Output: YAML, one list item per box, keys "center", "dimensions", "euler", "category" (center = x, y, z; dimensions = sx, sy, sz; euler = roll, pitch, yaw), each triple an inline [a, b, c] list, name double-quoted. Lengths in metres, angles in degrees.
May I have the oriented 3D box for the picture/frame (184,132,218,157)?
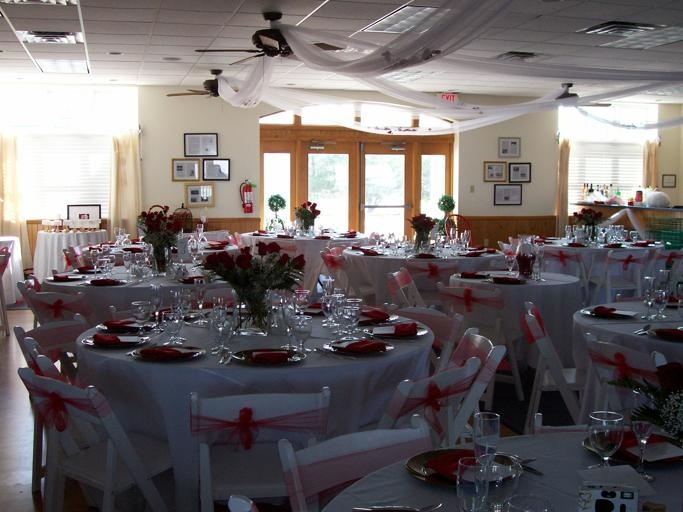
- center: [-3.420, -2.667, 10.952]
  dimensions: [0.662, 0.425, 0.029]
  euler: [-1, 3, -5]
  category: "picture/frame"

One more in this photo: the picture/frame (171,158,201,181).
- center: [-3.769, -2.093, 10.971]
  dimensions: [0.613, 0.456, 0.047]
  euler: [0, 7, -3]
  category: "picture/frame"

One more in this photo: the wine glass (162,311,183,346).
- center: [-0.943, 0.392, 2.570]
  dimensions: [0.093, 0.175, 0.257]
  euler: [-3, 4, -21]
  category: "wine glass"

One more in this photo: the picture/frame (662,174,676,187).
- center: [9.725, -2.226, 13.553]
  dimensions: [0.412, 0.369, 0.028]
  euler: [3, 6, -5]
  category: "picture/frame"

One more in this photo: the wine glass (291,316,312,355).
- center: [-0.209, 0.411, 2.397]
  dimensions: [0.120, 0.168, 0.116]
  euler: [4, 2, 29]
  category: "wine glass"

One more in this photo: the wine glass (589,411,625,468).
- center: [0.720, 0.495, 1.242]
  dimensions: [0.071, 0.175, 0.219]
  euler: [1, 4, 30]
  category: "wine glass"

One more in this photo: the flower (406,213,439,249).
- center: [1.163, -0.338, 6.523]
  dimensions: [0.469, 0.550, 0.524]
  euler: [1, 3, 14]
  category: "flower"

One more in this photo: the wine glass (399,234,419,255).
- center: [0.967, -0.156, 6.611]
  dimensions: [0.340, 0.335, 0.323]
  euler: [0, 1, 27]
  category: "wine glass"

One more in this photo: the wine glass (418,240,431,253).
- center: [1.148, -0.130, 6.325]
  dimensions: [0.181, 0.183, 0.172]
  euler: [1, -4, -7]
  category: "wine glass"

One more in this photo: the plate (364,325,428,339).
- center: [0.331, 0.432, 2.773]
  dimensions: [0.379, 0.069, 0.300]
  euler: [-1, 3, 9]
  category: "plate"

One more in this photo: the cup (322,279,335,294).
- center: [-0.087, 0.195, 2.984]
  dimensions: [0.071, 0.102, 0.107]
  euler: [0, 0, 0]
  category: "cup"

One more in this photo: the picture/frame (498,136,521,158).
- center: [4.556, -2.959, 12.442]
  dimensions: [0.654, 0.506, 0.069]
  euler: [-1, 3, -11]
  category: "picture/frame"

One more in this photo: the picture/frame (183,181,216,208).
- center: [-3.480, -1.499, 11.071]
  dimensions: [0.740, 0.569, 0.048]
  euler: [-1, 5, -6]
  category: "picture/frame"

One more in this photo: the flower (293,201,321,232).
- center: [-0.679, -0.739, 8.750]
  dimensions: [0.573, 0.563, 0.562]
  euler: [1, 1, 27]
  category: "flower"

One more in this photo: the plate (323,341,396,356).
- center: [0.088, 0.473, 2.408]
  dimensions: [0.371, 0.064, 0.220]
  euler: [-1, 3, 2]
  category: "plate"

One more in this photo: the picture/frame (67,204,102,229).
- center: [-5.707, -0.848, 10.083]
  dimensions: [0.626, 0.525, 0.058]
  euler: [-5, 7, -17]
  category: "picture/frame"

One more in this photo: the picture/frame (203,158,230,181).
- center: [-3.066, -2.106, 11.069]
  dimensions: [0.629, 0.473, 0.045]
  euler: [0, 11, -6]
  category: "picture/frame"

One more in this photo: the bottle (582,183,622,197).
- center: [7.590, -1.874, 13.111]
  dimensions: [1.311, 0.434, 0.432]
  euler: [-2, 4, -15]
  category: "bottle"

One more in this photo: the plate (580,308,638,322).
- center: [1.847, 0.390, 3.145]
  dimensions: [0.353, 0.061, 0.262]
  euler: [1, 3, 27]
  category: "plate"

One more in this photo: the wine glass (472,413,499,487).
- center: [0.349, 0.475, 1.097]
  dimensions: [0.063, 0.165, 0.053]
  euler: [0, -10, 8]
  category: "wine glass"

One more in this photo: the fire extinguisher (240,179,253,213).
- center: [-2.331, -1.444, 11.228]
  dimensions: [0.315, 0.810, 0.125]
  euler: [-2, 4, -11]
  category: "fire extinguisher"

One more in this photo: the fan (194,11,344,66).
- center: [-1.010, -2.863, 6.147]
  dimensions: [1.487, 0.402, 1.413]
  euler: [-1, -1, 5]
  category: "fan"

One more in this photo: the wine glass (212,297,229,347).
- center: [-0.642, 0.360, 2.404]
  dimensions: [0.075, 0.242, 0.164]
  euler: [-3, 4, -17]
  category: "wine glass"

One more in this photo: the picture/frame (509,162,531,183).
- center: [4.884, -2.296, 12.550]
  dimensions: [0.631, 0.529, 0.048]
  euler: [-1, 7, -5]
  category: "picture/frame"

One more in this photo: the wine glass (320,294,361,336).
- center: [0.006, 0.339, 2.674]
  dimensions: [0.289, 0.252, 0.219]
  euler: [1, 1, -5]
  category: "wine glass"

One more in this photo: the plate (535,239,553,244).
- center: [3.363, -0.235, 7.552]
  dimensions: [0.195, 0.041, 0.185]
  euler: [1, 0, -25]
  category: "plate"

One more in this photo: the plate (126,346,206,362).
- center: [-0.892, 0.477, 2.318]
  dimensions: [0.396, 0.058, 0.237]
  euler: [-1, 3, -2]
  category: "plate"

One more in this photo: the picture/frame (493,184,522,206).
- center: [4.524, -1.685, 12.514]
  dimensions: [0.670, 0.431, 0.049]
  euler: [-1, 8, -6]
  category: "picture/frame"

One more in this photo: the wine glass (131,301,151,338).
- center: [-1.192, 0.359, 2.720]
  dimensions: [0.086, 0.196, 0.249]
  euler: [-3, 4, -25]
  category: "wine glass"

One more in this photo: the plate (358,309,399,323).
- center: [0.252, 0.402, 3.111]
  dimensions: [0.249, 0.049, 0.324]
  euler: [-1, 3, 2]
  category: "plate"

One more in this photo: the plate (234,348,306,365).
- center: [-0.363, 0.489, 2.252]
  dimensions: [0.364, 0.056, 0.189]
  euler: [-1, 3, -7]
  category: "plate"

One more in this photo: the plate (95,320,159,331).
- center: [-1.292, 0.429, 2.793]
  dimensions: [0.176, 0.034, 0.164]
  euler: [-1, -4, 36]
  category: "plate"
